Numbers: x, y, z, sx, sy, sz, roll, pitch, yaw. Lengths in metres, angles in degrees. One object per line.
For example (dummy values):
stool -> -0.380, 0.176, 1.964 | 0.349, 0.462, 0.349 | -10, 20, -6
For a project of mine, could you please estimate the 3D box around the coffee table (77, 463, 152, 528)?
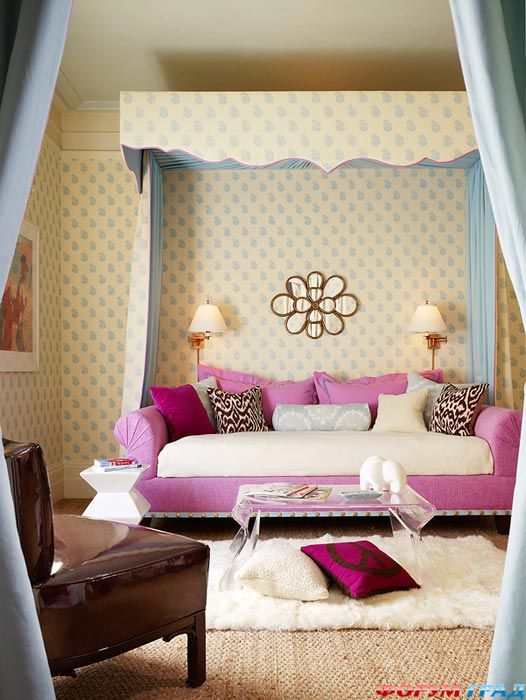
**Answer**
coffee table -> -0.735, 0.728, 2.985 | 0.381, 0.314, 0.380 | -2, -7, 8

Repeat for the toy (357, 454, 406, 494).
toy -> 0.557, 0.586, 2.689 | 0.235, 0.166, 0.124 | -4, -6, 33

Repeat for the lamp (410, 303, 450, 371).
lamp -> 1.352, -0.121, 4.565 | 0.264, 0.562, 0.477 | -3, -3, 19

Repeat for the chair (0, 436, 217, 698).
chair -> -0.461, 0.599, 1.912 | 0.762, 0.933, 0.676 | -1, 2, -24
